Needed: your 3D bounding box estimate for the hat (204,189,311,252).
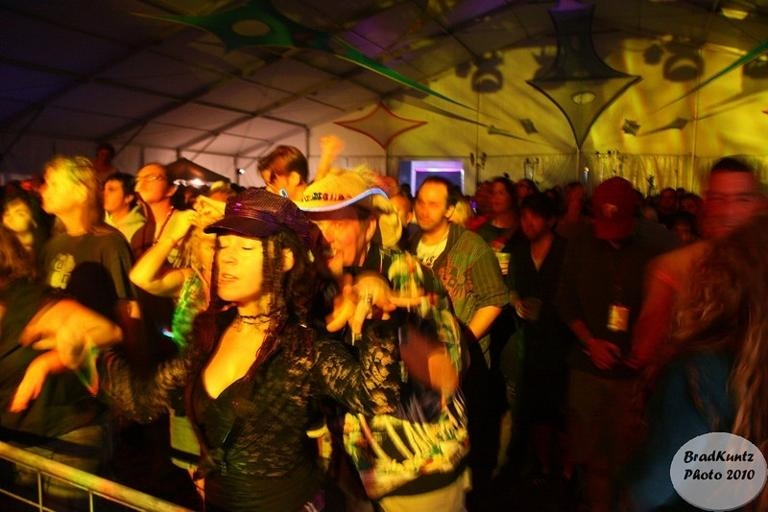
[{"bbox_3d":[-0.623,-0.172,2.754,0.274,0.181,0.417,3,-2,38],"label":"hat"}]
